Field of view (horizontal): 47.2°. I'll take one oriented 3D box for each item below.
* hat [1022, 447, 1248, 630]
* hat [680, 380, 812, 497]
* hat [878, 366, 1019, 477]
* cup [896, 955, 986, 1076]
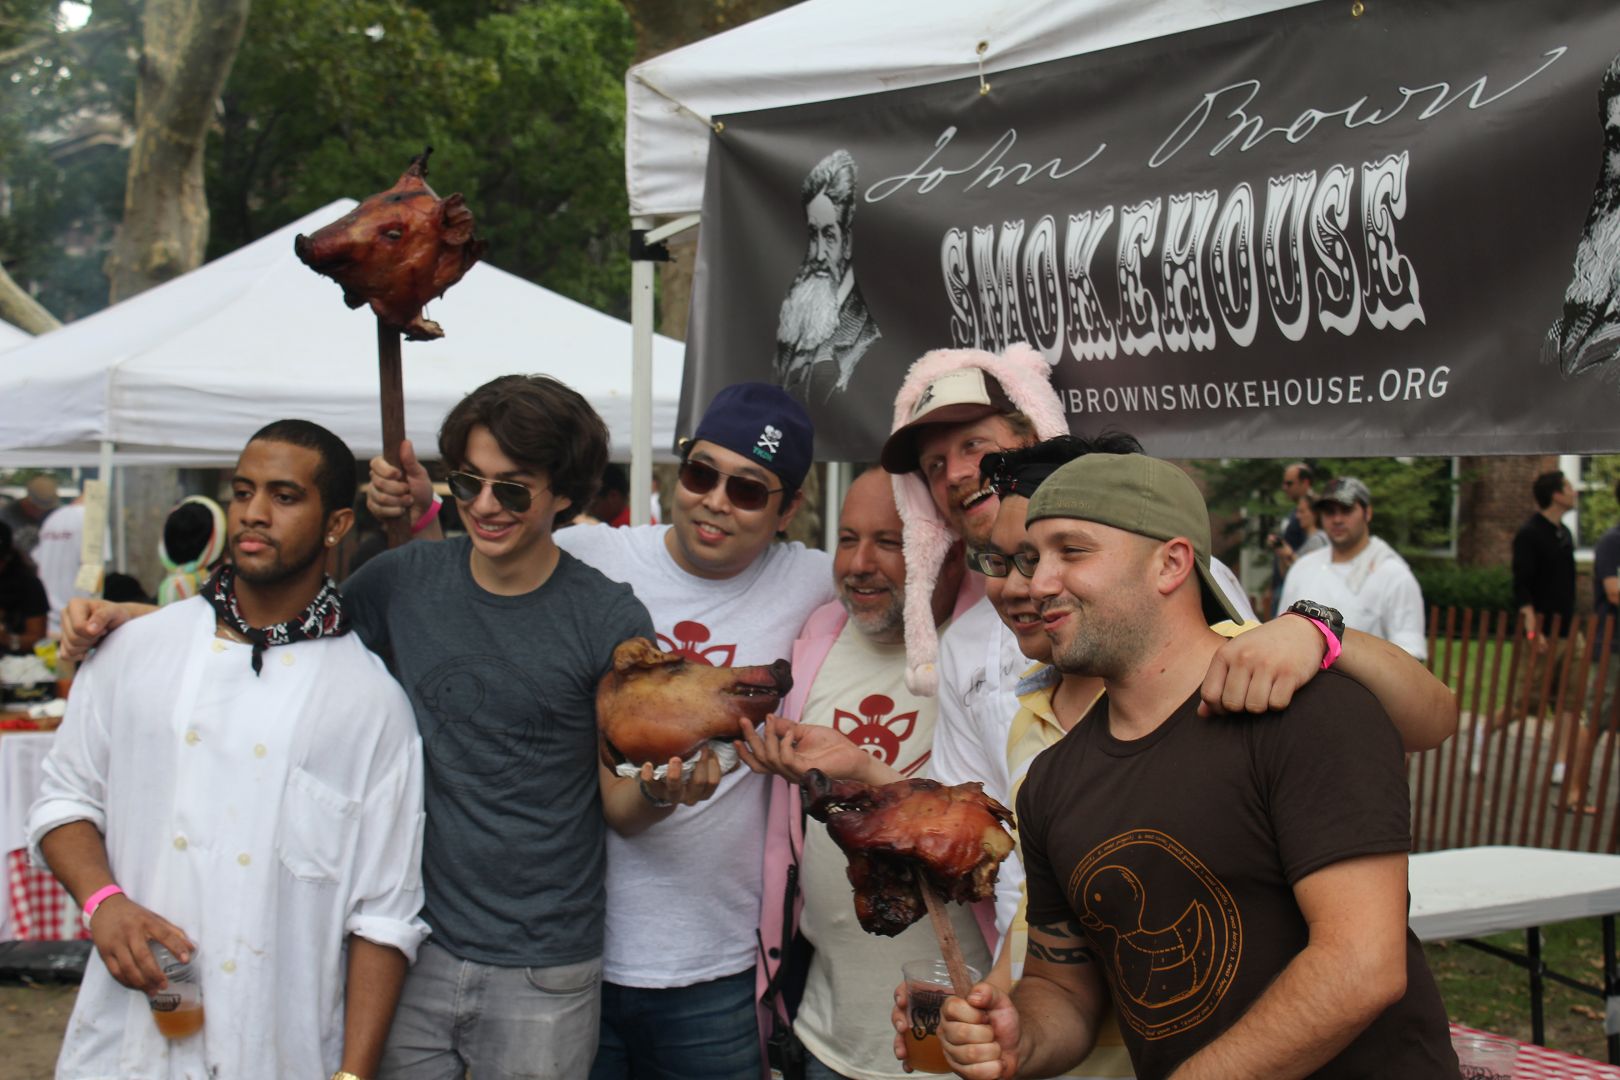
[{"bbox_3d":[1.149,-0.006,6.455,0.761,0.603,0.180,0,-1,-10],"label":"hat"},{"bbox_3d":[-0.261,-0.340,7.928,0.457,0.382,0.483,30,-17,4],"label":"hat"},{"bbox_3d":[0.536,-0.494,7.414,0.471,0.273,0.323,-16,-18,-40],"label":"hat"},{"bbox_3d":[0.419,1.722,6.715,0.364,0.416,0.379,0,-11,0],"label":"cup"}]
